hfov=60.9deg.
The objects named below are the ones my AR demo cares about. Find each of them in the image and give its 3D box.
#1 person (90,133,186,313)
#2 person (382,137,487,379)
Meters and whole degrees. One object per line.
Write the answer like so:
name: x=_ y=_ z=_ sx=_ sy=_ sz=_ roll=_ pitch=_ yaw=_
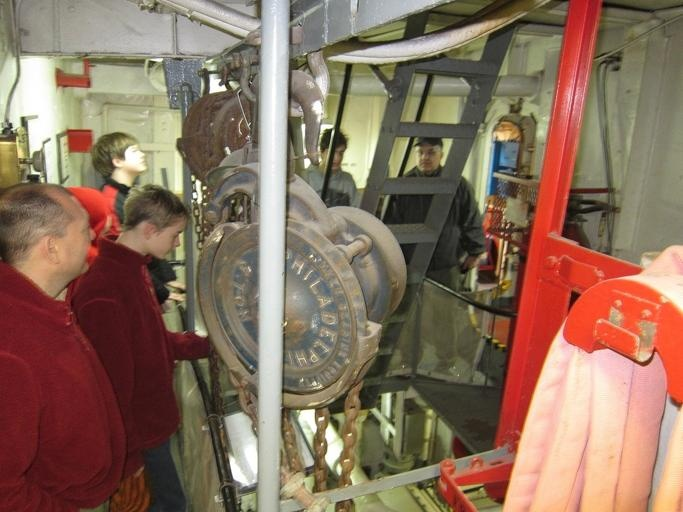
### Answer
person: x=-1.881 y=-0.208 z=5.208 sx=0.578 sy=1.765 sz=0.549 roll=-10 pitch=24 yaw=-29
person: x=0.952 y=-0.084 z=5.938 sx=0.975 sy=2.213 sz=1.499 roll=5 pitch=10 yaw=15
